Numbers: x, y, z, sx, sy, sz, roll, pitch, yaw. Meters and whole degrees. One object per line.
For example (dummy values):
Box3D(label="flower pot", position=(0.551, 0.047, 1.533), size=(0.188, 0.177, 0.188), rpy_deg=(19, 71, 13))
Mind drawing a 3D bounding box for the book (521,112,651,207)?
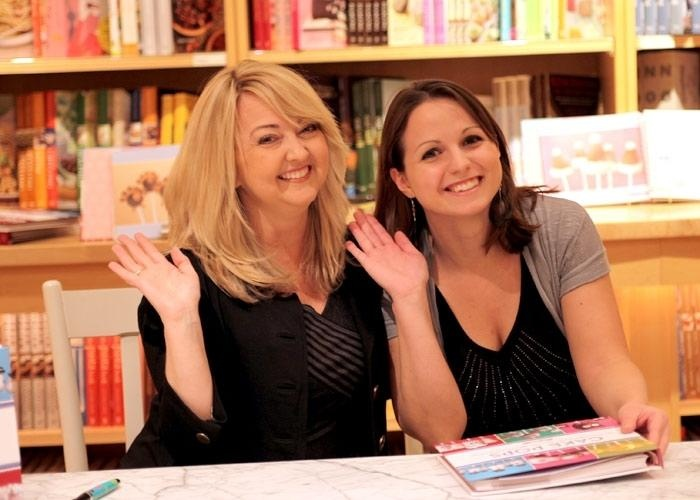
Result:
Box3D(label="book", position=(0.914, -0.342, 2.515), size=(0.434, 0.294, 0.043), rpy_deg=(-2, -4, 2))

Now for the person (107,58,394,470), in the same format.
Box3D(label="person", position=(-0.260, 0.034, 1.734), size=(0.680, 1.093, 0.505), rpy_deg=(-8, 6, -3))

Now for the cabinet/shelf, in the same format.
Box3D(label="cabinet/shelf", position=(-0.050, -0.105, 2.079), size=(1.805, 1.615, 0.521), rpy_deg=(-2, 0, -1))

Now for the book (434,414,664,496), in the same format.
Box3D(label="book", position=(0.381, 0.400, 1.292), size=(0.224, 0.033, 0.179), rpy_deg=(-8, 4, 0))

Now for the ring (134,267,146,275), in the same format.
Box3D(label="ring", position=(-0.504, 0.049, 1.580), size=(0.016, 0.007, 0.020), rpy_deg=(5, 45, 8))

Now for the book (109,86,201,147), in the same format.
Box3D(label="book", position=(-0.750, -0.514, 2.565), size=(0.243, 0.294, 0.315), rpy_deg=(3, 7, 1))
